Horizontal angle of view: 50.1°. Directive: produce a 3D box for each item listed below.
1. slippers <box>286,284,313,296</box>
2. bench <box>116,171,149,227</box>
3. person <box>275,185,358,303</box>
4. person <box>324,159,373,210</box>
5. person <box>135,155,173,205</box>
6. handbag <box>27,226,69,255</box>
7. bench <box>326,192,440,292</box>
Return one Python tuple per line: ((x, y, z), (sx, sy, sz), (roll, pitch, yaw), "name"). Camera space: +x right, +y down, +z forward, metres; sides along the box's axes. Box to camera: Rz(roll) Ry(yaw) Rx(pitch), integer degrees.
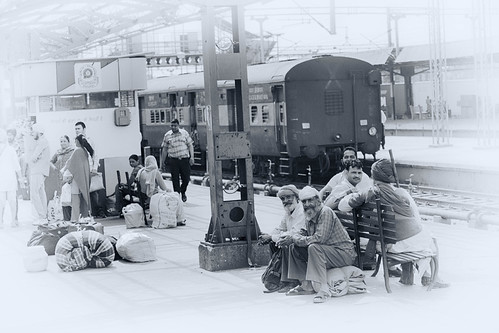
((0.797, 1.951, 8.366), (0.429, 0.167, 0.171), (2, -5, 1), "slippers")
((-3.492, 0.917, 14.691), (0.785, 1.391, 0.939), (-12, 5, -26), "bench")
((1.032, 1.165, 8.141), (1.118, 1.681, 0.559), (0, 4, 10), "person")
((1.945, 0.339, 10.602), (0.567, 1.023, 1.000), (10, 18, 43), "person")
((-2.493, 0.297, 13.584), (0.858, 1.099, 0.338), (0, 4, 12), "person")
((-4.113, 1.542, 10.972), (0.806, 0.611, 0.407), (-2, 4, -12), "handbag")
((2.387, 1.257, 8.562), (0.903, 1.389, 2.348), (-6, -5, 5), "bench")
